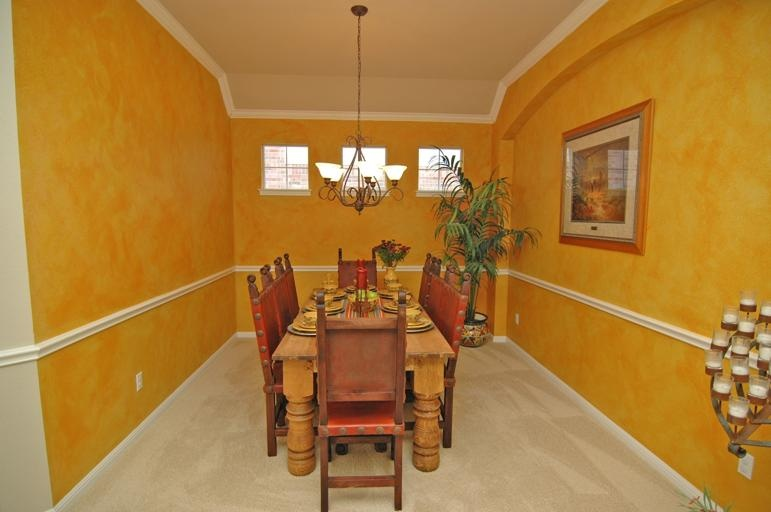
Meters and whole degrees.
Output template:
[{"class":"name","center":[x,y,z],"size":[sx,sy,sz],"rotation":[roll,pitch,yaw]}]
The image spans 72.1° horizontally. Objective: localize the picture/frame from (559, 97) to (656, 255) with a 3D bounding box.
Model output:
[{"class":"picture/frame","center":[2.023,-0.718,4.934],"size":[0.135,1.310,1.035],"rotation":[-1,7,-17]}]

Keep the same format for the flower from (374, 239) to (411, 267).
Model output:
[{"class":"flower","center":[0.107,-0.032,5.471],"size":[0.336,0.259,0.345],"rotation":[-1,-4,41]}]

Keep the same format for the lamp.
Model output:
[{"class":"lamp","center":[-0.207,-1.428,5.801],"size":[1.061,1.964,2.357],"rotation":[1,6,-7]}]
